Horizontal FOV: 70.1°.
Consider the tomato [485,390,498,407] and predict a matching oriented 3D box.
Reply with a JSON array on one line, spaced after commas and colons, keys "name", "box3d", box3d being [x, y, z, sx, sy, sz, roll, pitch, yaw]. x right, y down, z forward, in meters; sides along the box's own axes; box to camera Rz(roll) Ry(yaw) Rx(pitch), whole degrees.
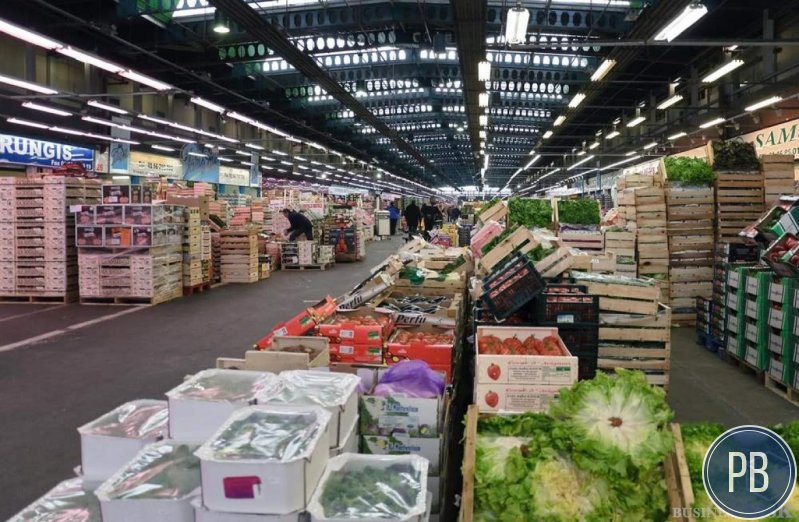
[{"name": "tomato", "box3d": [0.980, 1.466, 6.059, 0.160, 0.145, 0.151, -16, -11, -11]}]

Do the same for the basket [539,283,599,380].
[{"name": "basket", "box3d": [2.004, 0.870, 6.802, 0.716, 1.036, 1.143, -2, 6, 7]}]

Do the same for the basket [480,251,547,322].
[{"name": "basket", "box3d": [1.396, 0.330, 7.123, 0.891, 0.670, 0.392, -38, -18, 25]}]
